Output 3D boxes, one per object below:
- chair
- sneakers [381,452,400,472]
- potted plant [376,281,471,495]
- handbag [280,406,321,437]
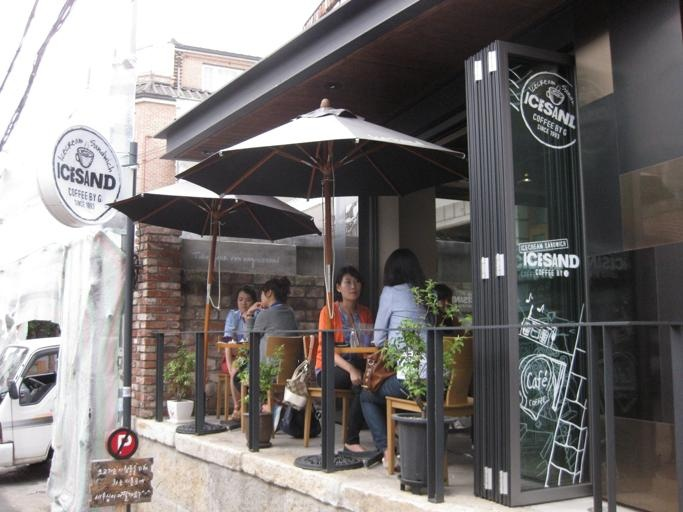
[{"bbox_3d":[0.451,1.149,5.407,1.310,0.751,1.368,1,-1,35],"label":"chair"},{"bbox_3d":[0.418,1.765,5.235,0.071,0.103,0.226,3,-23,-15],"label":"sneakers"},{"bbox_3d":[0.742,1.193,5.304,0.750,1.339,1.767,0,-8,5],"label":"potted plant"},{"bbox_3d":[-0.488,1.904,6.986,0.359,0.172,0.383,6,-5,-20],"label":"handbag"}]
